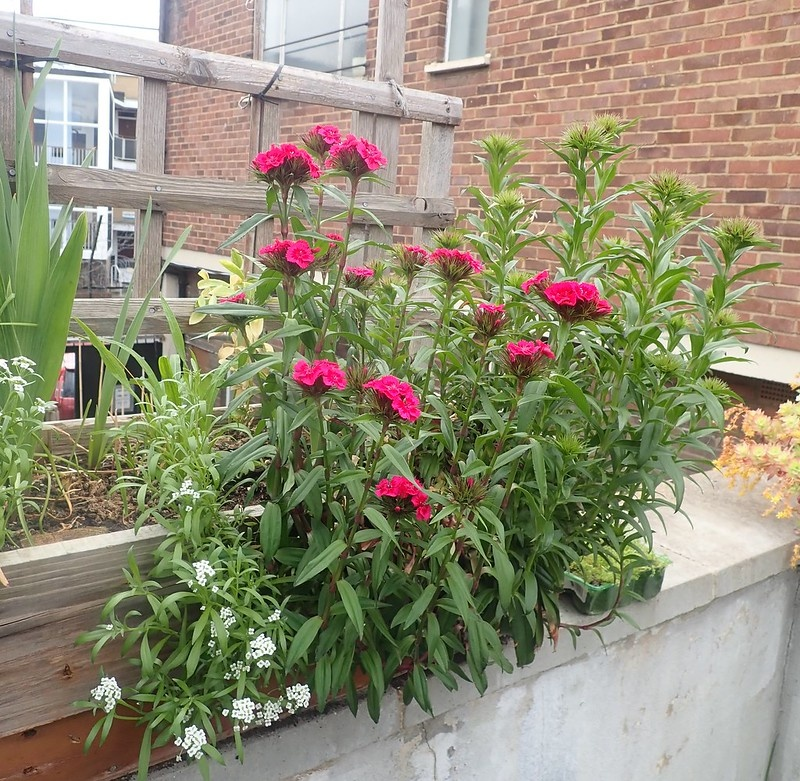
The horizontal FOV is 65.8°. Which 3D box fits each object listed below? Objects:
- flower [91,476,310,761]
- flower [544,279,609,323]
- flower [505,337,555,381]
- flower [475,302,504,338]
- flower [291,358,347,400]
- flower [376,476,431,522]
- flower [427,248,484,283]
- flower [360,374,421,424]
[{"bbox_3d":[-0.387,0.475,1.232,0.415,0.622,0.385,1,8,-4],"label":"flower"},{"bbox_3d":[0.308,-0.152,1.067,0.082,0.047,0.081,24,-16,-14],"label":"flower"},{"bbox_3d":[0.242,-0.053,1.119,0.079,0.067,0.153,6,8,27],"label":"flower"},{"bbox_3d":[0.159,-0.125,1.104,0.059,0.063,0.059,0,11,3],"label":"flower"},{"bbox_3d":[-0.137,-0.022,1.041,0.068,0.046,0.067,-14,52,-34],"label":"flower"},{"bbox_3d":[0.008,0.182,1.125,0.095,0.058,0.089,32,-11,-7],"label":"flower"},{"bbox_3d":[0.112,-0.247,1.234,0.079,0.055,0.077,21,-3,-15],"label":"flower"},{"bbox_3d":[-0.016,0.017,1.012,0.084,0.085,0.130,1,7,-6],"label":"flower"}]
